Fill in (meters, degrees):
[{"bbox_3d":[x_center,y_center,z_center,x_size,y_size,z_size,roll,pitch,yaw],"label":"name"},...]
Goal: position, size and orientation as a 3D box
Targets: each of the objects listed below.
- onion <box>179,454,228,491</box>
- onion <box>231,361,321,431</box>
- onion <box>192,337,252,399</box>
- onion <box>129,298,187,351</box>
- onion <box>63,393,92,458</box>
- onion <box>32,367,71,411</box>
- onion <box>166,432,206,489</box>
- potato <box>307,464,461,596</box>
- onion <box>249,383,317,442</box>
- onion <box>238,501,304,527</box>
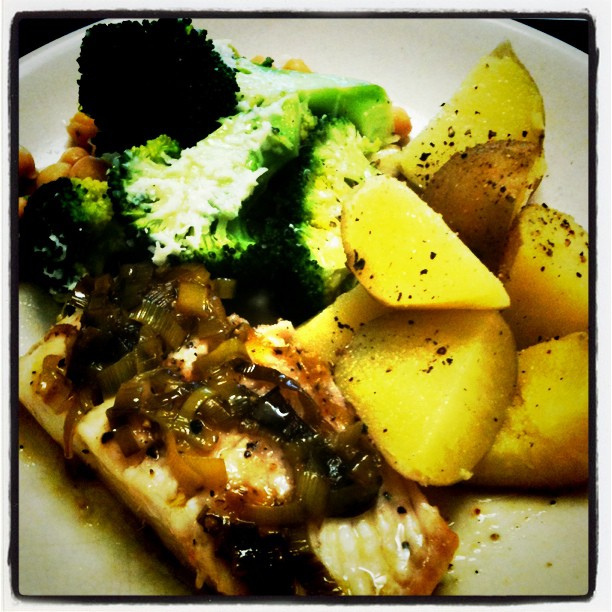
[{"bbox_3d":[-0.264,0.430,1.893,0.126,0.078,0.031,12,23,20],"label":"onion"},{"bbox_3d":[-0.128,0.209,1.915,0.234,0.053,0.330,16,15,-7],"label":"onion"},{"bbox_3d":[-0.228,0.163,2.003,0.171,0.054,0.157,-29,76,-30],"label":"onion"},{"bbox_3d":[-0.422,0.051,2.086,0.158,0.123,0.045,11,23,16],"label":"onion"},{"bbox_3d":[-0.655,0.343,2.080,0.072,0.183,0.072,-5,25,-26],"label":"onion"},{"bbox_3d":[-0.732,0.237,2.112,0.111,0.108,0.038,-25,-8,-11],"label":"onion"},{"bbox_3d":[-0.347,0.420,2.002,0.102,0.162,0.250,-6,-12,-11],"label":"onion"},{"bbox_3d":[0.202,0.615,1.903,0.329,0.272,0.251,-13,27,-41],"label":"potato"},{"bbox_3d":[-0.065,0.298,1.952,0.146,0.039,0.129,43,65,3],"label":"onion"},{"bbox_3d":[-0.085,0.534,1.856,0.153,0.058,0.031,1,22,-11],"label":"onion"}]
